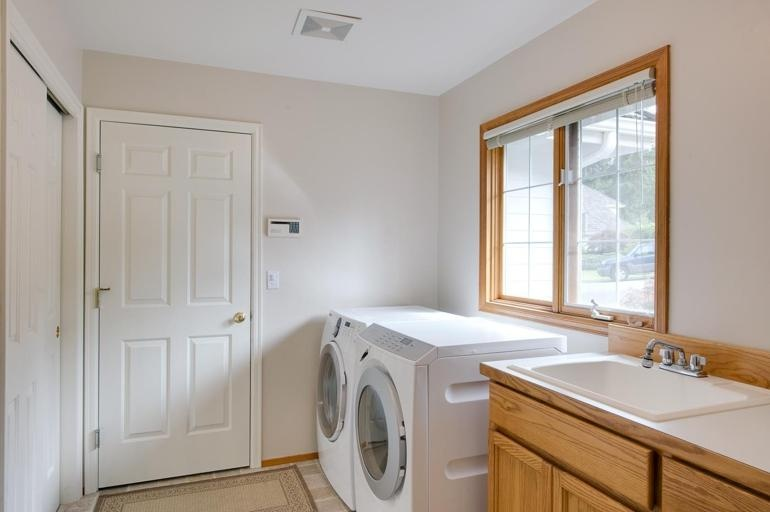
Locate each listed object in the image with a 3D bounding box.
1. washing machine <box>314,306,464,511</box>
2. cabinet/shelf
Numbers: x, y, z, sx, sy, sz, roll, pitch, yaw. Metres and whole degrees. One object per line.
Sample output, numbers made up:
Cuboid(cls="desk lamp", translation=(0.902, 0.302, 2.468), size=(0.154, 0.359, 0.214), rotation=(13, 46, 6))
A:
Cuboid(cls="washing machine", translation=(-0.108, 0.998, 4.106), size=(1.085, 1.607, 1.135), rotation=(3, -1, -17))
Cuboid(cls="cabinet/shelf", translation=(0.820, 0.813, 2.297), size=(0.355, 0.245, 0.505), rotation=(6, -1, -28))
